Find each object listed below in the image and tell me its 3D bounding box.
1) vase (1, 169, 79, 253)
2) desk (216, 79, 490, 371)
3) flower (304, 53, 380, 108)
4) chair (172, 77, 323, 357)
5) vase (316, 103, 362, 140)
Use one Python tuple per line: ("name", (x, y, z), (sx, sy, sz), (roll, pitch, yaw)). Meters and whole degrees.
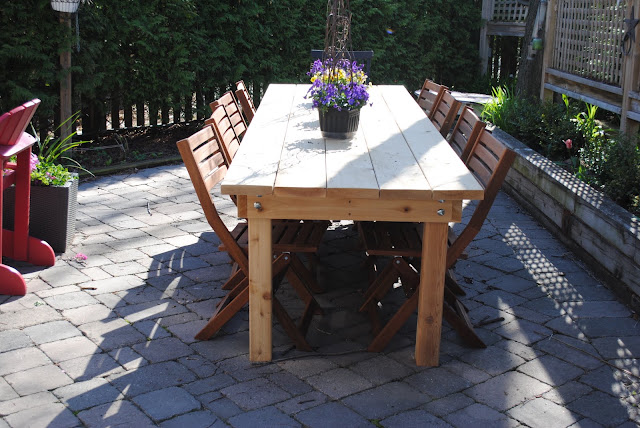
("vase", (-2.621, -0.011, 4.828), (0.694, 0.719, 0.701), (3, 1, -11))
("desk", (0.002, -0.166, 4.479), (1.669, 1.099, 3.080), (-2, 21, -10))
("flower", (0.124, -1.038, 4.023), (0.543, 0.306, 0.531), (0, 19, -6))
("chair", (-0.464, -0.133, 4.321), (1.564, 2.291, 1.607), (0, 22, 1))
("vase", (0.152, -0.742, 3.967), (0.352, 0.240, 0.344), (-14, 19, -43))
